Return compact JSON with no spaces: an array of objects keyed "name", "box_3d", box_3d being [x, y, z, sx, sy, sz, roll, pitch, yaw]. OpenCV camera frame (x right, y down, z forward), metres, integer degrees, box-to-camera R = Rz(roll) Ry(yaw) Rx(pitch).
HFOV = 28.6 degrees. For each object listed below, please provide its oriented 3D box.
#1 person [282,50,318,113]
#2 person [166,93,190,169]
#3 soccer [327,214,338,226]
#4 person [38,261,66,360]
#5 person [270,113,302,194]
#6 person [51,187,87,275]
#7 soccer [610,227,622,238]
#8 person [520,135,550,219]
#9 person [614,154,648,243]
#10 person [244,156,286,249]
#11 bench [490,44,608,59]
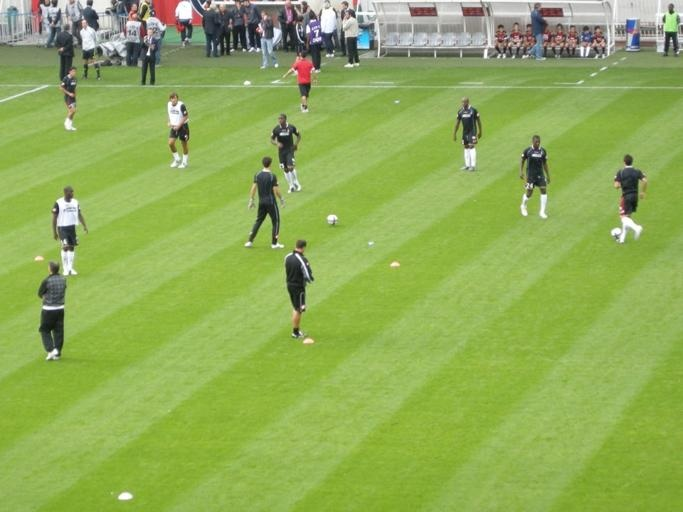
[{"name":"person","box_3d":[-1.380,-5.998,45.658,0.882,2.068,0.962,-4,5,-33]},{"name":"person","box_3d":[-5.009,-3.888,40.848,0.799,2.340,0.656,10,24,7]},{"name":"soccer","box_3d":[-0.242,-0.981,36.263,0.285,0.247,0.239,-3,15,-5]},{"name":"person","box_3d":[-6.393,1.234,29.525,0.580,2.196,0.515,-3,15,-20]},{"name":"person","box_3d":[-1.562,-3.113,38.864,0.968,2.205,0.820,4,24,-2]},{"name":"person","box_3d":[-6.821,-0.660,33.599,0.860,2.153,0.561,-2,8,-23]},{"name":"soccer","box_3d":[7.179,-0.604,34.828,0.221,0.228,0.253,-15,0,1]},{"name":"person","box_3d":[5.212,-2.153,36.124,0.877,2.180,0.791,5,16,28]},{"name":"person","box_3d":[7.440,-1.491,35.032,1.207,2.332,1.039,10,22,16]},{"name":"person","box_3d":[-1.984,-1.379,34.696,1.032,2.406,0.630,2,13,7]},{"name":"bench","box_3d":[9.632,-8.129,55.754,3.563,0.769,0.757,1,-10,13]}]
